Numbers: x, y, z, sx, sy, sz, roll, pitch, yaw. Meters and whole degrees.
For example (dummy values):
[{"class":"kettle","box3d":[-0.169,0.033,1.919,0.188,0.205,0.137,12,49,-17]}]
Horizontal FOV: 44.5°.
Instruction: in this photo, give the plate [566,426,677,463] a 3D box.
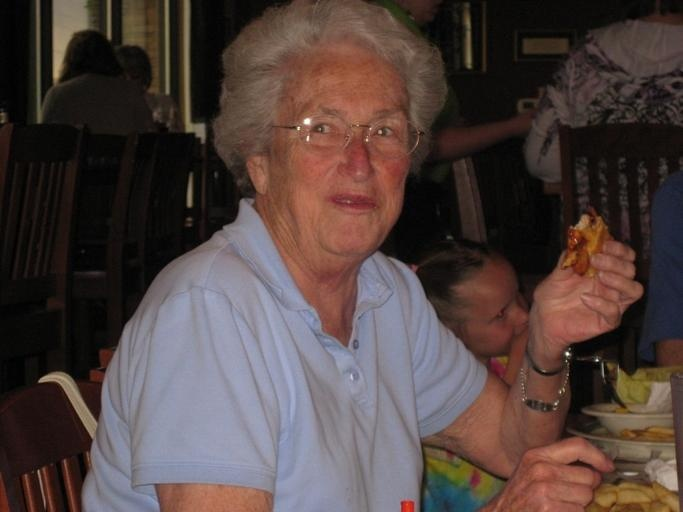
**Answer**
[{"class":"plate","box3d":[0.649,0.435,1.919,0.145,0.033,0.151,-5,-4,42]}]

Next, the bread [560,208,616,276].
[{"class":"bread","box3d":[0.603,-0.054,2.052,0.072,0.165,0.107,25,-17,-39]}]

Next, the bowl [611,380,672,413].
[{"class":"bowl","box3d":[0.722,0.348,2.033,0.134,0.065,0.140,-7,2,0]}]
